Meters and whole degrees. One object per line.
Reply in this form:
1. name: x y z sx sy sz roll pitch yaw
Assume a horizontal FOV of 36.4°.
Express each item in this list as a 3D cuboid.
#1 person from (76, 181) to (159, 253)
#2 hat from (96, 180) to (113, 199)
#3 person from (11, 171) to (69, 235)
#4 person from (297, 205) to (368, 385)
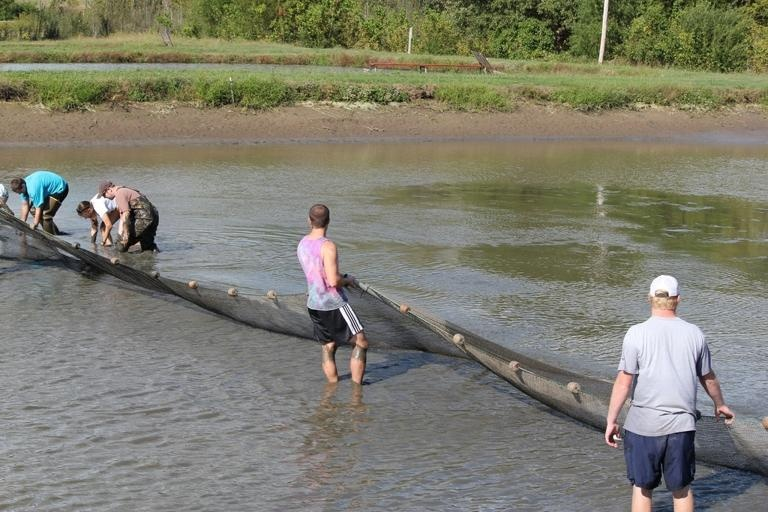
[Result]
1. person: -5.518 -0.834 24.659 1.422 1.502 0.673 6 19 24
2. hat: -5.814 -1.394 24.617 0.317 0.380 0.281 -8 18 -22
3. person: -7.254 -1.070 24.938 0.833 1.431 1.240 1 16 8
4. person: -0.861 0.683 19.654 1.042 3.148 0.521 8 22 27
